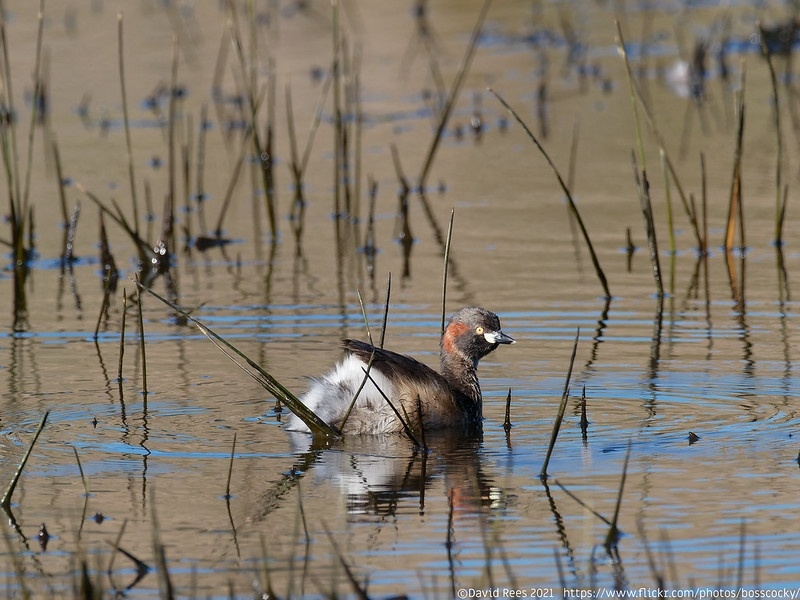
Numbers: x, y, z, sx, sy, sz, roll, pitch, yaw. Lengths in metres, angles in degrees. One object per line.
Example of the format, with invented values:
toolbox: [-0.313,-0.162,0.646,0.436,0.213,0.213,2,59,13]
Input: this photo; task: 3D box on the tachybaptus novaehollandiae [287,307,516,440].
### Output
tachybaptus novaehollandiae: [0.058,0.574,8.685,1.791,1.115,0.794,3,-15,-38]
